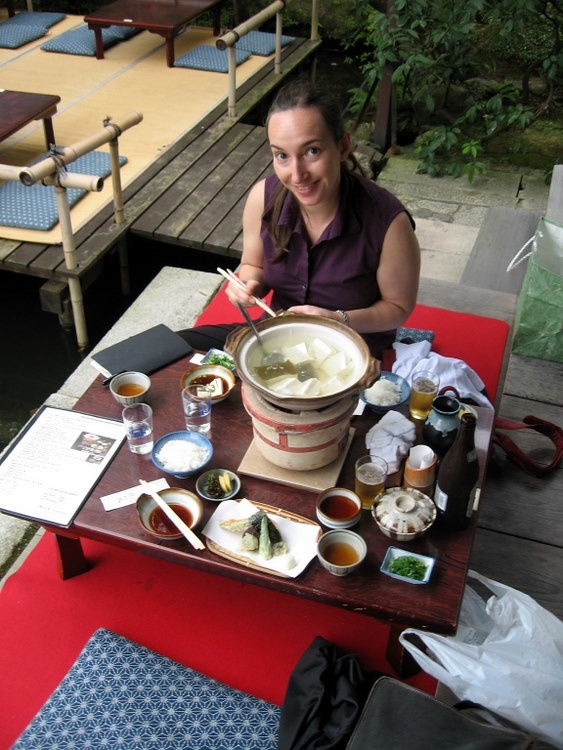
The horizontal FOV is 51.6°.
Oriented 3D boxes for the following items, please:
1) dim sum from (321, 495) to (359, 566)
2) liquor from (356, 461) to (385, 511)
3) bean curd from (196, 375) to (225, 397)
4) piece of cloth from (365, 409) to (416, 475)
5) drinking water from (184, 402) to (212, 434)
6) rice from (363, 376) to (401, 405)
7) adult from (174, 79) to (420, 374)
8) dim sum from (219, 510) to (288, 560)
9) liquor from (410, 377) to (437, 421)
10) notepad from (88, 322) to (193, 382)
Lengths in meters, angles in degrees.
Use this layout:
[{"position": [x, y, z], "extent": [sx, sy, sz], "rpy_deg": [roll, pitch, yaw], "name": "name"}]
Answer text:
[{"position": [0.147, 0.413, 1.562], "extent": [0.132, 0.093, 0.139], "rpy_deg": [-1, 43, 2], "name": "dim sum"}, {"position": [0.238, 0.302, 1.567], "extent": [0.104, 0.152, 0.096], "rpy_deg": [0, 44, 2], "name": "liquor"}, {"position": [-0.228, 0.043, 1.971], "extent": [0.071, 0.016, 0.065], "rpy_deg": [24, 42, 26], "name": "bean curd"}, {"position": [0.332, 0.199, 1.756], "extent": [0.132, 0.050, 0.167], "rpy_deg": [39, 63, 23], "name": "piece of cloth"}, {"position": [-0.263, 0.132, 1.809], "extent": [0.082, 0.115, 0.071], "rpy_deg": [-1, 46, 2], "name": "drinking water"}, {"position": [0.327, 0.053, 1.913], "extent": [0.110, 0.039, 0.099], "rpy_deg": [-7, 39, -3], "name": "rice"}, {"position": [0.069, -0.470, 2.254], "extent": [0.857, 1.117, 0.838], "rpy_deg": [16, 36, 24], "name": "adult"}, {"position": [-0.066, 0.400, 1.489], "extent": [0.107, 0.073, 0.168], "rpy_deg": [-25, 38, -34], "name": "dim sum"}, {"position": [0.442, 0.077, 1.816], "extent": [0.099, 0.134, 0.086], "rpy_deg": [7, 47, 8], "name": "liquor"}, {"position": [-0.521, -0.081, 2.154], "extent": [0.308, 0.060, 0.200], "rpy_deg": [-25, 51, -30], "name": "notepad"}]
